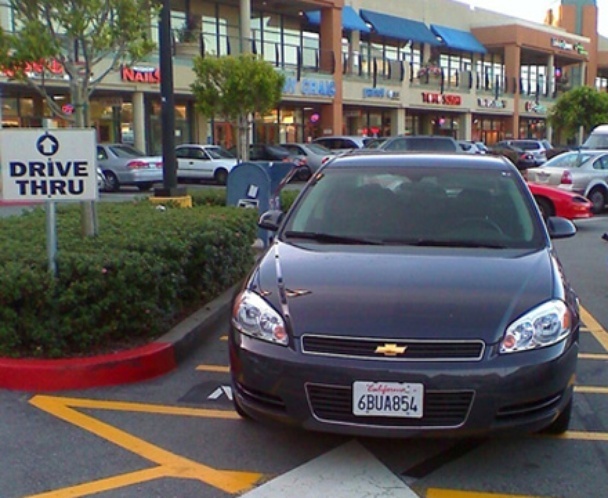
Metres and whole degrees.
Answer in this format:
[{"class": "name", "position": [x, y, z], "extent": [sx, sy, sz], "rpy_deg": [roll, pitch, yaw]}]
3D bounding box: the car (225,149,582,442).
[{"class": "car", "position": [0.746, 0.212, 4.157], "extent": [1.389, 1.191, 2.491], "rpy_deg": [1, 6, 10]}]
